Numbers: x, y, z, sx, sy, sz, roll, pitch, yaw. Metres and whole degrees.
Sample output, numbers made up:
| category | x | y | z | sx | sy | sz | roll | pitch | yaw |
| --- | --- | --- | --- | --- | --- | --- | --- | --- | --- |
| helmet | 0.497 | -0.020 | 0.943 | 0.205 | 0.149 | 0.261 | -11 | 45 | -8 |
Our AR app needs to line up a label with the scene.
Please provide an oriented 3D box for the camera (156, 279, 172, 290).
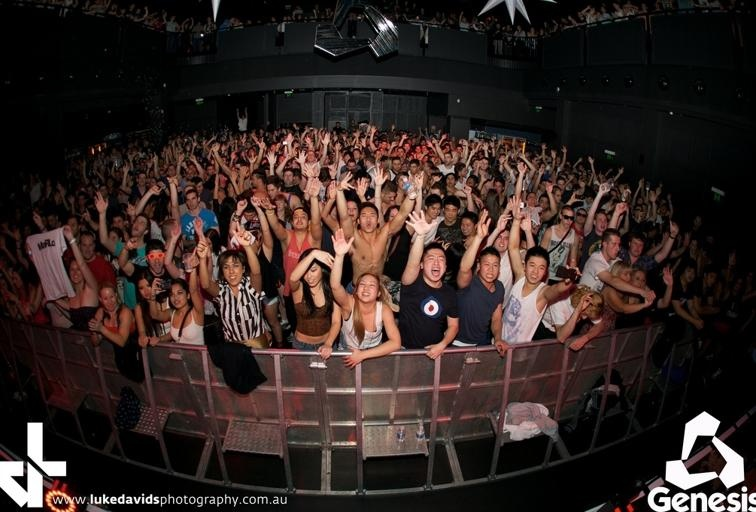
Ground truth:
| category | x | y | z | sx | sy | sz | roll | pitch | yaw |
| --- | --- | --- | --- | --- | --- | --- | --- | --- | --- |
| camera | -2.734 | 0.354 | 5.880 | 0.179 | 0.145 | 0.057 | 16 | -25 | 10 |

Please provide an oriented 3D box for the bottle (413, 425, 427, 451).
| category | x | y | z | sx | sy | sz | roll | pitch | yaw |
| --- | --- | --- | --- | --- | --- | --- | --- | --- | --- |
| bottle | 0.551 | 2.331 | 5.868 | 0.167 | 0.325 | 0.104 | 3 | 4 | 11 |
